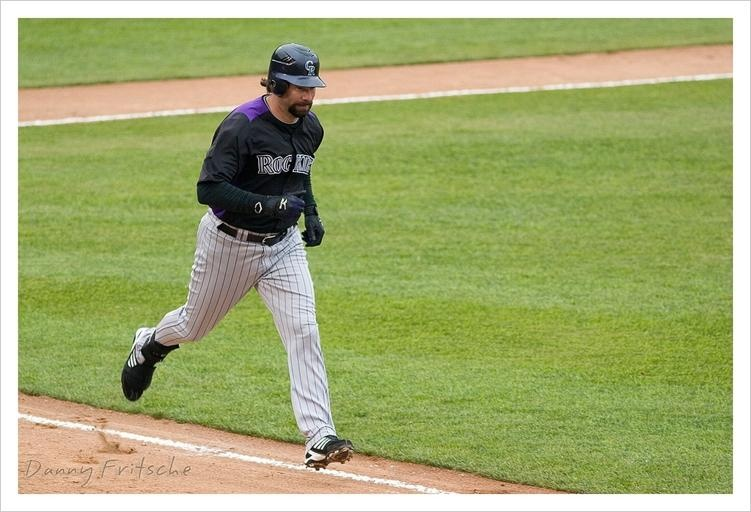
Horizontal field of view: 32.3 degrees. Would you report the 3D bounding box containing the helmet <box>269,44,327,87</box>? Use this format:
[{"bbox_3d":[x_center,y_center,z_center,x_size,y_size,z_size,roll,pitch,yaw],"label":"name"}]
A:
[{"bbox_3d":[-0.707,-1.742,11.666,0.527,0.288,0.632,-16,30,-39],"label":"helmet"}]
